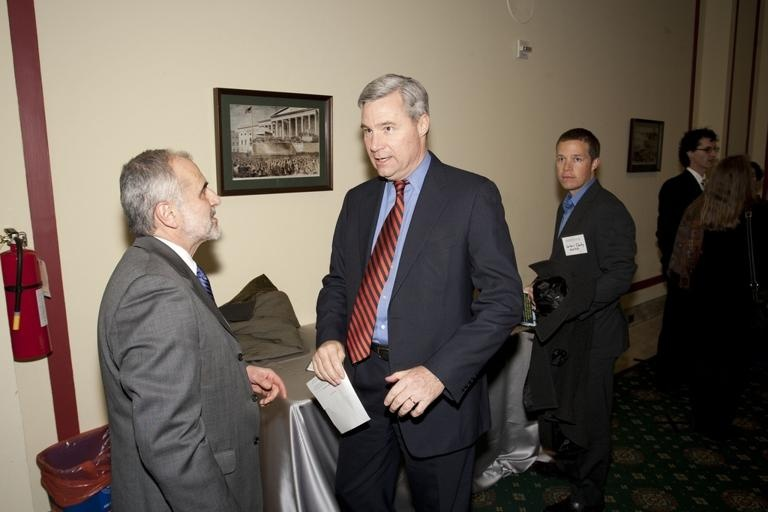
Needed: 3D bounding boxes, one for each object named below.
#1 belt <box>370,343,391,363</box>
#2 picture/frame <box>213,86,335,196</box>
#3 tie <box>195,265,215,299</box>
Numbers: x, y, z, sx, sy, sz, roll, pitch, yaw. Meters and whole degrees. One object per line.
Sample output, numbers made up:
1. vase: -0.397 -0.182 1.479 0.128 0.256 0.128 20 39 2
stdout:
1. belt: -0.013 0.463 2.551 0.068 0.049 0.088 1 2 -29
2. picture/frame: -0.786 -0.803 3.640 0.818 0.732 0.038 -6 13 -31
3. tie: -0.923 0.126 2.738 0.038 0.230 0.025 -11 -19 -48
